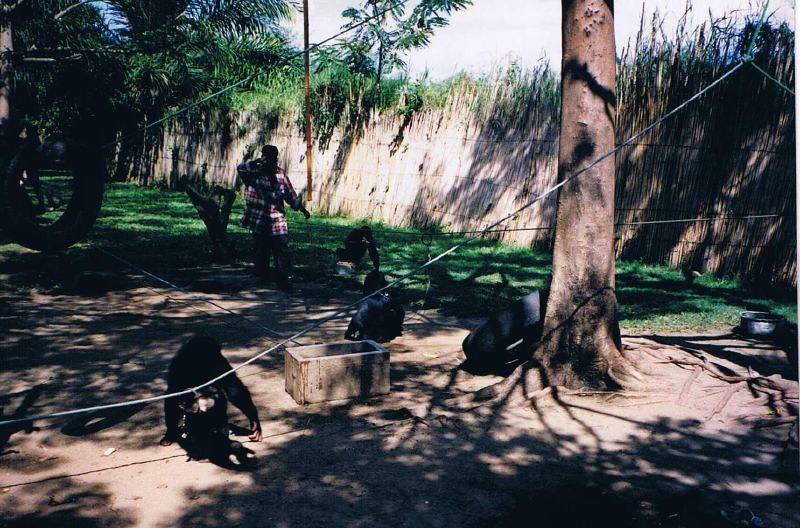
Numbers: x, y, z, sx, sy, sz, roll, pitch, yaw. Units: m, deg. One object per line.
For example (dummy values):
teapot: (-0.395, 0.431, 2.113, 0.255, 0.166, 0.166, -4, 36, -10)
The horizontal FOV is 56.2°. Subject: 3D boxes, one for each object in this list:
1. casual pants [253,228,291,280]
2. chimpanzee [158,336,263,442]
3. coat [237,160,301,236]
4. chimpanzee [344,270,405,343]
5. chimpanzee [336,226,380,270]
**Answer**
casual pants: (-2.218, -0.120, 12.721, 0.634, 0.373, 1.039, -6, 46, -11)
chimpanzee: (-2.165, 1.277, 7.778, 1.238, 0.454, 1.536, 12, 10, -35)
coat: (-2.249, -1.083, 12.579, 0.977, 1.243, 0.544, -1, 14, -7)
chimpanzee: (-0.326, 0.534, 10.655, 0.951, 1.084, 0.706, -4, -13, 5)
chimpanzee: (-0.752, -0.283, 13.143, 0.600, 0.776, 0.936, 2, -4, -23)
